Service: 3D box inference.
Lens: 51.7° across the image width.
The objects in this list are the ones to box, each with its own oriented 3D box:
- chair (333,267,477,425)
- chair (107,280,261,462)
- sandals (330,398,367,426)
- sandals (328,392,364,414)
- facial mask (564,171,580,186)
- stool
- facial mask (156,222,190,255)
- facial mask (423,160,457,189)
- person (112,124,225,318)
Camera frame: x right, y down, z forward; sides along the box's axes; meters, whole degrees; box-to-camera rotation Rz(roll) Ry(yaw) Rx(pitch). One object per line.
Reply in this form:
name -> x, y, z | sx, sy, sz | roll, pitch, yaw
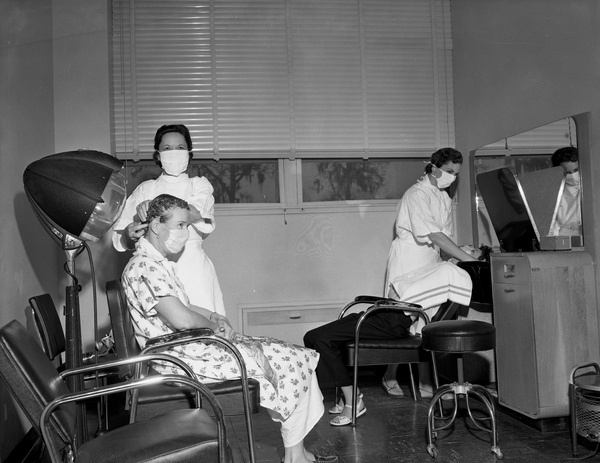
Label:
chair -> 0.729, 0.895, 5.093 | 1.067, 1.606, 0.900 | 1, -5, -9
chair -> -0.665, 0.773, 3.942 | 0.879, 1.363, 0.879 | -3, -4, -7
sandals -> 0.337, 1.305, 4.474 | 0.122, 0.113, 0.257 | -18, -19, 41
sandals -> 0.361, 1.295, 4.702 | 0.133, 0.112, 0.277 | -13, -20, 43
facial mask -> 1.959, -0.387, 4.446 | 0.074, 0.074, 0.079 | 8, -5, 18
stool -> 1.109, 0.984, 4.175 | 0.668, 0.999, 0.659 | -5, -3, 28
facial mask -> -0.729, 0.050, 3.623 | 0.137, 0.095, 0.120 | 7, 12, 14
facial mask -> 1.144, -0.451, 5.113 | 0.229, 0.143, 0.184 | 33, 10, 23
person -> -0.962, 0.181, 4.403 | 0.666, 1.851, 0.607 | 4, -5, -10
